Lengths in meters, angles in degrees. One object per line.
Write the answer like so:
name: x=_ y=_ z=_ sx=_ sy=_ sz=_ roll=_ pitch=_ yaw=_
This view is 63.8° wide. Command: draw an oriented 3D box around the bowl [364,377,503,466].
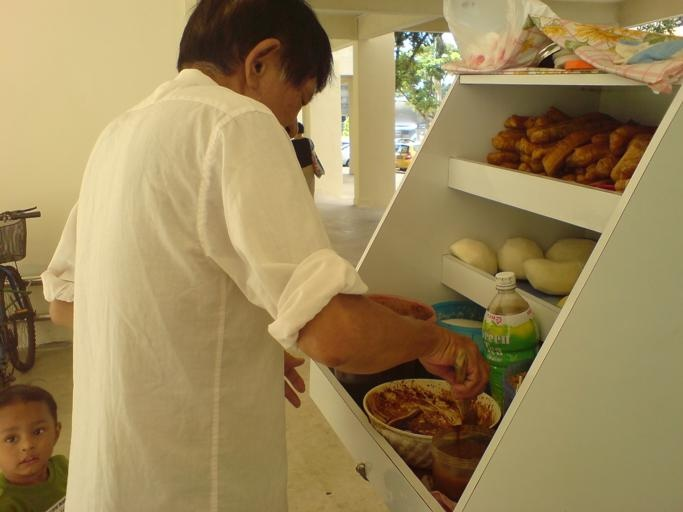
bowl: x=0.195 y=0.294 z=1.254 sx=0.282 sy=0.146 sz=0.342 roll=-5 pitch=12 yaw=-27

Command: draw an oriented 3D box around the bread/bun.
bread/bun: x=0.490 y=-0.022 z=1.441 sx=0.274 sy=0.138 sz=0.402 roll=-5 pitch=13 yaw=-29

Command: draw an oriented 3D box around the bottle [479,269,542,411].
bottle: x=0.343 y=0.167 z=1.147 sx=0.108 sy=0.337 sz=0.111 roll=1 pitch=6 yaw=0
